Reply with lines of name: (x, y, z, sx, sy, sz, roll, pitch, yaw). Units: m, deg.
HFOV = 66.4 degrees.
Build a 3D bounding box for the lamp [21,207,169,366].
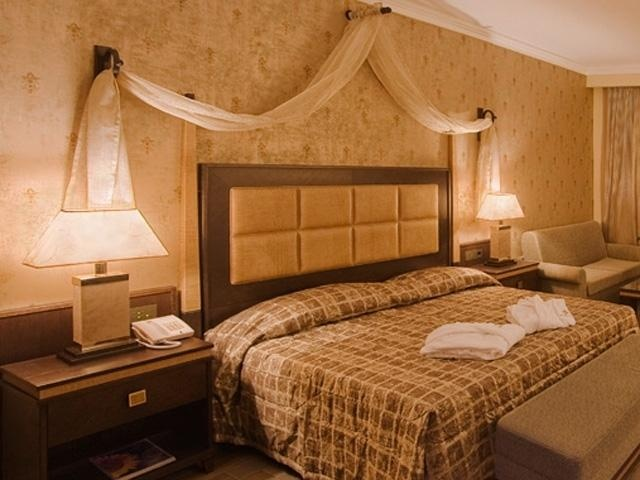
lamp: (-1.288, 0.271, 2.722, 0.317, 0.980, 0.899, 0, 1, 43)
